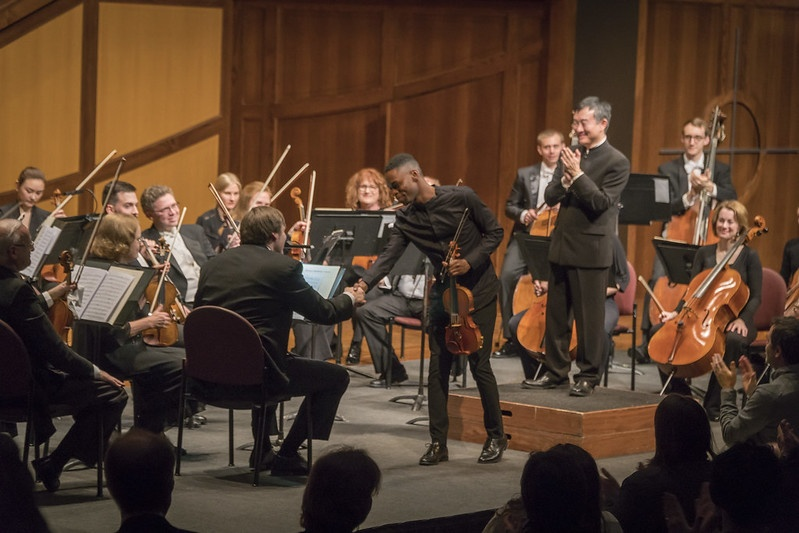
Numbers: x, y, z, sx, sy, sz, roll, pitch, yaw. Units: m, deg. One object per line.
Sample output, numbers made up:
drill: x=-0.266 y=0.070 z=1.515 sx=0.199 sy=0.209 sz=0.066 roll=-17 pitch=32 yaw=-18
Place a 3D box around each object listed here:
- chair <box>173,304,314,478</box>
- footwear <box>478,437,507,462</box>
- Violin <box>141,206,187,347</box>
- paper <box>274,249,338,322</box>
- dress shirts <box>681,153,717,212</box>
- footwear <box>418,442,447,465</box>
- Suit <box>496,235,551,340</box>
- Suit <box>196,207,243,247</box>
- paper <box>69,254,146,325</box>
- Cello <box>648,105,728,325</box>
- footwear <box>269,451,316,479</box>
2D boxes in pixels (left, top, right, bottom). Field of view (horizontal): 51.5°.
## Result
chair: x=-0.926 y=0.718 z=4.602 sx=0.677 sy=0.943 sz=0.624 roll=-2 pitch=-8 yaw=34
footwear: x=0.584 y=1.097 z=5.056 sx=0.083 sy=0.097 sz=0.232 roll=4 pitch=17 yaw=34
Violin: x=-1.511 y=0.089 z=5.632 sx=0.240 sy=0.944 sz=0.380 roll=5 pitch=-3 yaw=-31
paper: x=-0.543 y=0.121 z=4.923 sx=0.356 sy=0.349 sz=0.086 roll=-1 pitch=-19 yaw=37
dress shirts: x=2.470 y=-0.662 z=6.763 sx=0.130 sy=0.415 sz=0.213 roll=-7 pitch=11 yaw=-10
footwear: x=0.218 y=1.126 z=4.984 sx=0.080 sy=0.104 sz=0.215 roll=-5 pitch=-10 yaw=37
Suit: x=0.983 y=0.170 z=6.466 sx=0.403 sy=0.907 sz=0.270 roll=4 pitch=-19 yaw=-11
Suit: x=-1.596 y=-0.333 z=7.235 sx=0.362 sy=0.363 sz=0.133 roll=-28 pitch=-15 yaw=-13
paper: x=-1.587 y=0.160 z=4.680 sx=0.469 sy=0.321 sz=0.145 roll=8 pitch=-20 yaw=24
Cello: x=2.466 y=-0.510 z=7.048 sx=0.831 sy=1.902 sz=0.586 roll=5 pitch=-7 yaw=19
footwear: x=-0.623 y=1.118 z=4.758 sx=0.313 sy=0.131 sz=0.148 roll=0 pitch=-2 yaw=-10
